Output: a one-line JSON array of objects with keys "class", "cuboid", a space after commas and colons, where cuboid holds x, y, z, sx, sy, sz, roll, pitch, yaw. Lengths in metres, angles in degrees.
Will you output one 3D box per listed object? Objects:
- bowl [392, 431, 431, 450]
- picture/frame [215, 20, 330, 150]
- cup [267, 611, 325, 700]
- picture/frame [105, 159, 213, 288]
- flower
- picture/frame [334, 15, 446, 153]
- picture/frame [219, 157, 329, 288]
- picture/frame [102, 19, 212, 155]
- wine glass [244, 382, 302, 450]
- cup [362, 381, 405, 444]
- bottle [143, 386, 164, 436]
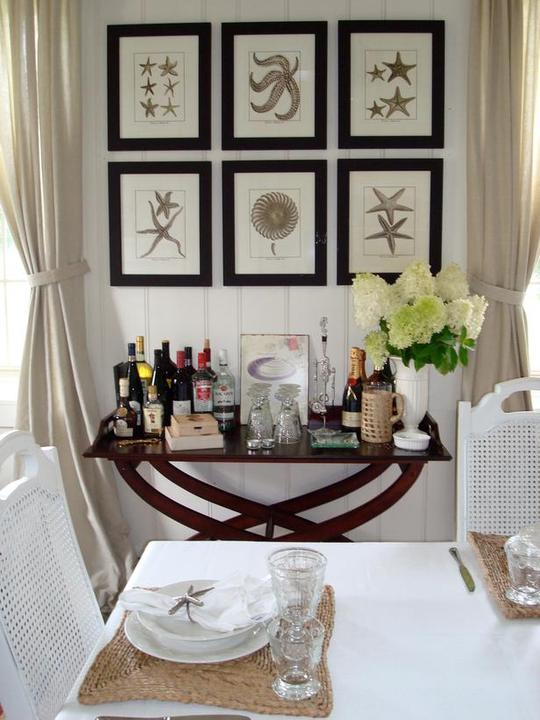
[{"class": "bowl", "cuboid": [0.462, 0.254, 2.024, 0.075, 0.030, 0.068, -2, 6, 0]}, {"class": "picture/frame", "cuboid": [0.023, -1.087, 2.365, 0.446, 0.530, 0.034, 0, 10, 3]}, {"class": "cup", "cuboid": [0.026, 0.389, 0.840, 0.082, 0.099, 0.084, 1, 9, 0]}, {"class": "picture/frame", "cuboid": [-0.431, -0.572, 2.452, 0.459, 0.586, 0.029, 1, 8, 4]}, {"class": "flower", "cuboid": [0.478, -0.151, 2.011, 0.386, 0.338, 0.368, -23, 36, -36]}, {"class": "picture/frame", "cuboid": [0.468, -1.090, 2.351, 0.443, 0.566, 0.039, -1, 6, 3]}, {"class": "picture/frame", "cuboid": [0.027, -0.568, 2.419, 0.456, 0.579, 0.027, 0, 6, 0]}, {"class": "picture/frame", "cuboid": [-0.433, -1.097, 2.394, 0.460, 0.545, 0.021, 0, 9, 5]}, {"class": "wine glass", "cuboid": [0.016, 0.194, 2.185, 0.188, 0.178, 0.199, 0, 4, 0]}, {"class": "cup", "cuboid": [0.414, 0.182, 2.060, 0.189, 0.216, 0.129, 3, 6, 29]}, {"class": "bottle", "cuboid": [-0.423, 0.175, 2.220, 0.072, 0.193, 0.130, 1, 9, -12]}]
